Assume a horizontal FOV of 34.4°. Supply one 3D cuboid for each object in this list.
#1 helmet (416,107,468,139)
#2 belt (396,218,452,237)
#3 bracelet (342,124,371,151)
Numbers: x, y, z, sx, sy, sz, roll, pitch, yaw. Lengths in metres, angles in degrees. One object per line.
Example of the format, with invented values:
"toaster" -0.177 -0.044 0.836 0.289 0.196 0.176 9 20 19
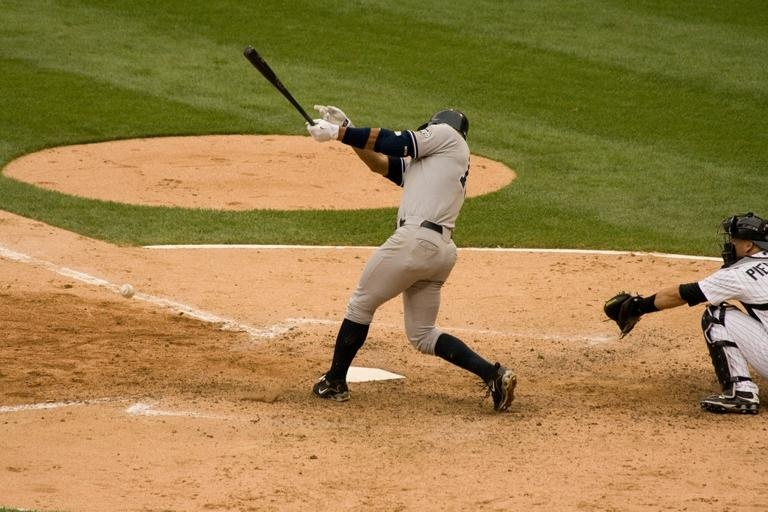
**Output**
"helmet" 0.755 -1.692 15.592 0.600 0.266 0.374 16 4 12
"belt" 0.600 -0.332 15.208 0.328 0.088 0.353 14 -5 45
"bracelet" -0.336 -1.468 15.157 0.255 0.133 0.316 27 -8 -24
